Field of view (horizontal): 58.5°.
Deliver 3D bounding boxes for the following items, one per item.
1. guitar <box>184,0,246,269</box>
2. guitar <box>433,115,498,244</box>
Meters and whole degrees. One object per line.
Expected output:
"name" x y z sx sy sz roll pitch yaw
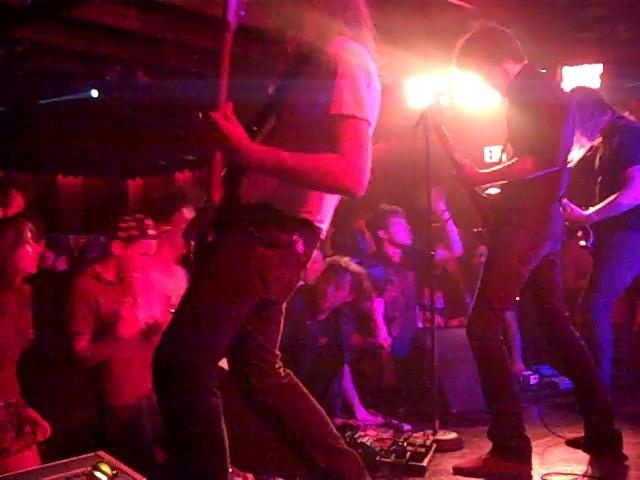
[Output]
"guitar" -0.567 -0.610 3.077 0.199 1.238 0.497 6 -3 -17
"guitar" 1.569 -0.684 6.118 0.422 1.723 0.373 -18 0 31
